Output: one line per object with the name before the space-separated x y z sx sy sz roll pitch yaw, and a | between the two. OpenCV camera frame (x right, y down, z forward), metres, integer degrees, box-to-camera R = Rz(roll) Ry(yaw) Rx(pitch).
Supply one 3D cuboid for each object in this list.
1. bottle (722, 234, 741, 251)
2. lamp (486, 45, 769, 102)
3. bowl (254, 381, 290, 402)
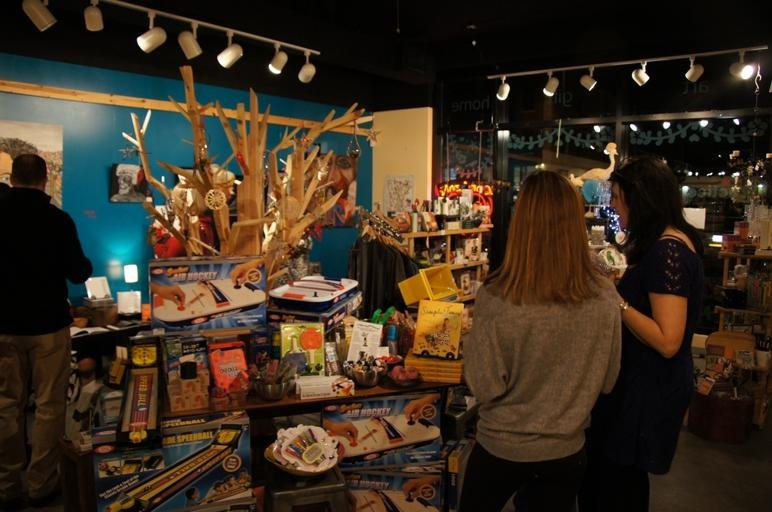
bottle | 3.976 -0.152 6.396 0.185 0.186 0.195 1 5 31
lamp | 3.052 -2.361 7.309 3.245 0.571 0.924 1 5 30
bowl | -0.754 0.882 3.724 0.155 0.067 0.151 -1 -2 0
